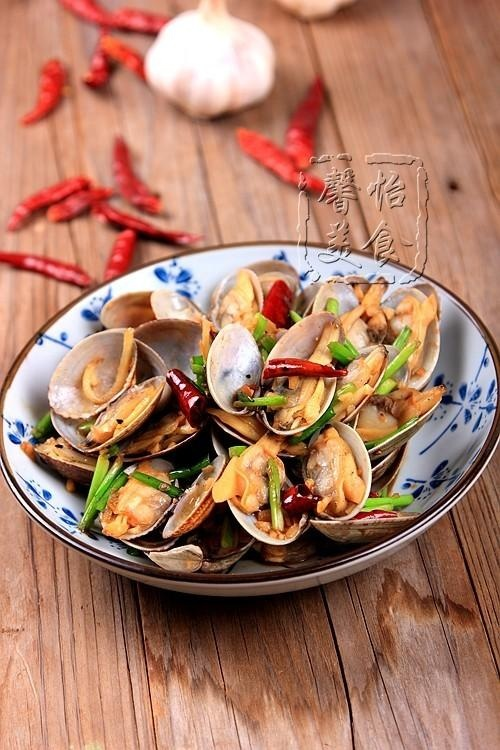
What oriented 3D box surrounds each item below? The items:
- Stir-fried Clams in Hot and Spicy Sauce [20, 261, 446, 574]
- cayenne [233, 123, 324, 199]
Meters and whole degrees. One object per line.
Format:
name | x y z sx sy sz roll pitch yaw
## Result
Stir-fried Clams in Hot and Spicy Sauce | -0.040 0.122 0.981 0.145 0.380 0.358 -16 76 -41
cayenne | 0.097 -0.665 2.067 0.115 0.118 0.385 -42 67 -17
